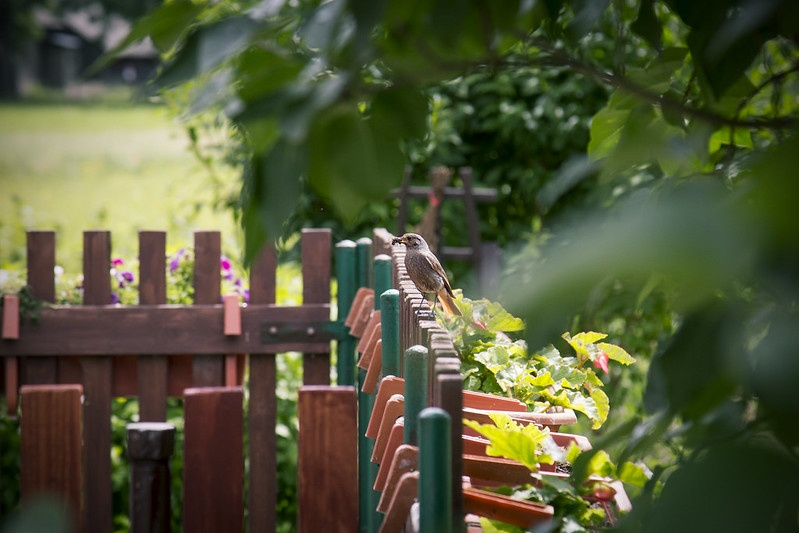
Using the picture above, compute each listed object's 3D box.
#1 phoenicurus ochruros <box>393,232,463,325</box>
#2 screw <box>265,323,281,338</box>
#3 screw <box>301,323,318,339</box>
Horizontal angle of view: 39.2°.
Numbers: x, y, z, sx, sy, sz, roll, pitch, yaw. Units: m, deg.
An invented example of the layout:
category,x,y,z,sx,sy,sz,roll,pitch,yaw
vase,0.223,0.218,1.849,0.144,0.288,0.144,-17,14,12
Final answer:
category,x,y,z,sx,sy,sz,roll,pitch,yaw
phoenicurus ochruros,0.133,0.033,5.353,0.448,0.368,0.170,10,-13,-43
screw,-0.626,0.312,5.518,0.047,0.052,0.064,8,5,-2
screw,-0.450,0.317,5.575,0.060,0.076,0.064,2,35,-16
